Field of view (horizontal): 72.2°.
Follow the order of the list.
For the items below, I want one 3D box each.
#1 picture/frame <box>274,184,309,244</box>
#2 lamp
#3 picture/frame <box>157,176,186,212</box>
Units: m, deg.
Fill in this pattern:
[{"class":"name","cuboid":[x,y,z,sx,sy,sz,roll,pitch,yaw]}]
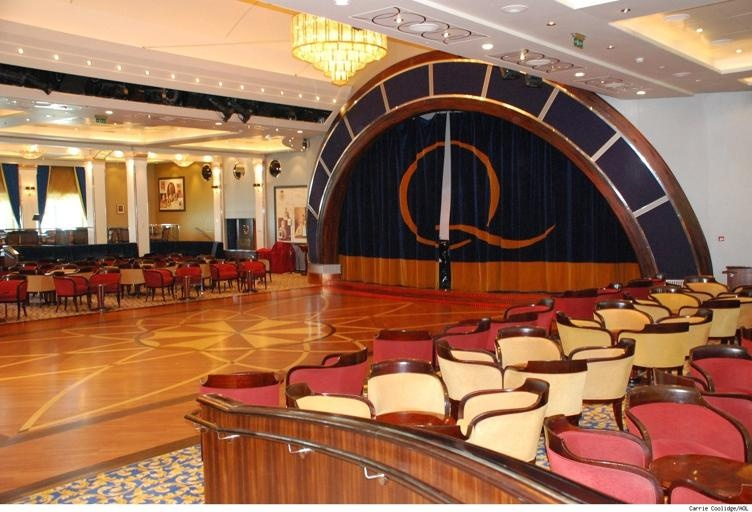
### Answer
[{"class":"picture/frame","cuboid":[-3.465,-1.690,20.919,1.768,2.278,0.408,4,9,43]},{"class":"lamp","cuboid":[-0.731,-4.359,10.042,1.799,1.126,1.726,1,0,0]},{"class":"picture/frame","cuboid":[-10.960,-3.362,27.773,2.175,1.990,0.168,1,1,34]}]
